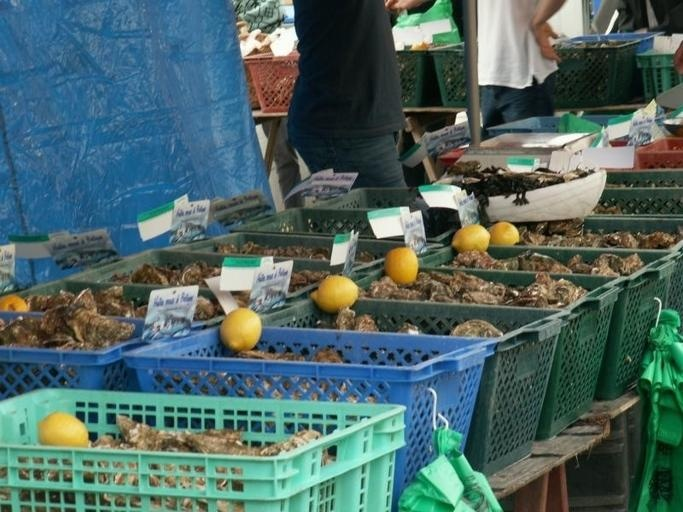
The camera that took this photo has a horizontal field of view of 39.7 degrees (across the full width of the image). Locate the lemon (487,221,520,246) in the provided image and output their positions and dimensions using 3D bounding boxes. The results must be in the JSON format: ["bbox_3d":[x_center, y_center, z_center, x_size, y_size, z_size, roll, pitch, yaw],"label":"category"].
[{"bbox_3d":[0.647,-0.097,3.818,0.107,0.089,0.087,-12,42,-1],"label":"lemon"}]

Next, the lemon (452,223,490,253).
[{"bbox_3d":[0.507,-0.081,3.763,0.130,0.103,0.098,-10,21,-19],"label":"lemon"}]

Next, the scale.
[{"bbox_3d":[1.013,-0.595,5.016,0.501,0.129,0.505,0,5,12],"label":"scale"}]

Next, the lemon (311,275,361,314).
[{"bbox_3d":[-0.022,0.122,3.192,0.129,0.120,0.157,5,15,24],"label":"lemon"}]

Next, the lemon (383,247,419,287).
[{"bbox_3d":[0.219,0.035,3.406,0.122,0.157,0.124,-3,2,3],"label":"lemon"}]

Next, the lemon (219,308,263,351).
[{"bbox_3d":[-0.301,0.220,2.884,0.097,0.104,0.134,8,55,22],"label":"lemon"}]
